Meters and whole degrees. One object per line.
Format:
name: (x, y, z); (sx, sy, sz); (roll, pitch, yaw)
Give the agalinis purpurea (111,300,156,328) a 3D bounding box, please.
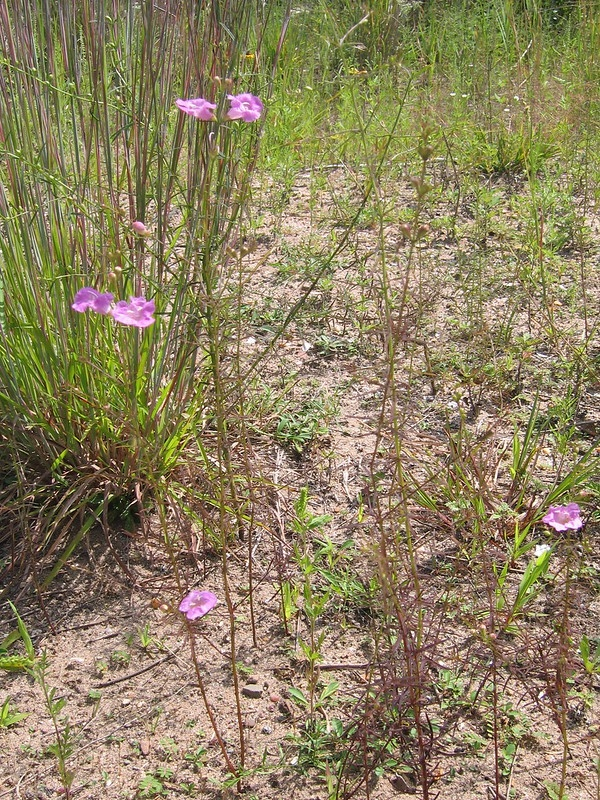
agalinis purpurea: (-0.248, -0.126, 1.043); (0.054, 0.026, 0.054); (10, 48, 7)
